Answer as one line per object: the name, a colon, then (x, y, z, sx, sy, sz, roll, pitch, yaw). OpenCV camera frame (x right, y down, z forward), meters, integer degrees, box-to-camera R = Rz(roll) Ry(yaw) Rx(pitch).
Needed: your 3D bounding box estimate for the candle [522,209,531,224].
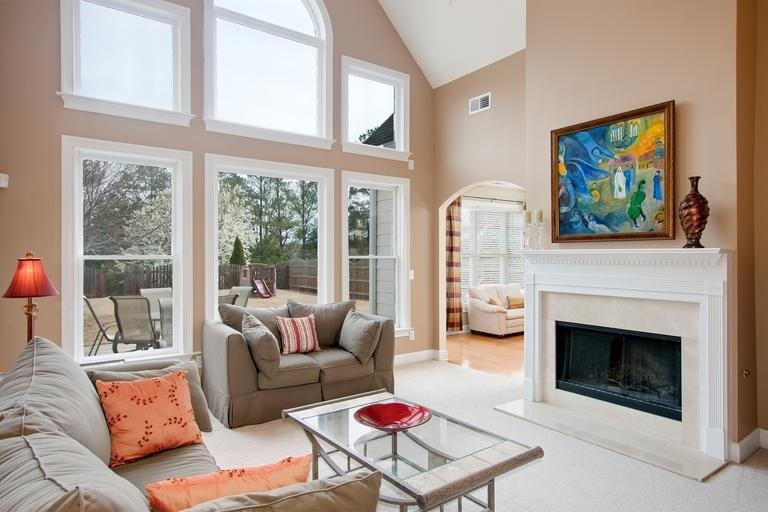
candle: (1.561, -0.424, 5.668, 0.075, 0.150, 0.146, -1, 2, 38)

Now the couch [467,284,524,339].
couch: (2.204, 0.961, 9.260, 1.367, 0.862, 0.782, -1, 1, -38)

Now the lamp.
lamp: (-3.177, 0.379, 4.695, 0.371, 0.797, 0.671, -4, 2, -34)

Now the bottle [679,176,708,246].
bottle: (2.737, -0.388, 4.609, 0.231, 0.624, 0.124, -2, 2, 24)
